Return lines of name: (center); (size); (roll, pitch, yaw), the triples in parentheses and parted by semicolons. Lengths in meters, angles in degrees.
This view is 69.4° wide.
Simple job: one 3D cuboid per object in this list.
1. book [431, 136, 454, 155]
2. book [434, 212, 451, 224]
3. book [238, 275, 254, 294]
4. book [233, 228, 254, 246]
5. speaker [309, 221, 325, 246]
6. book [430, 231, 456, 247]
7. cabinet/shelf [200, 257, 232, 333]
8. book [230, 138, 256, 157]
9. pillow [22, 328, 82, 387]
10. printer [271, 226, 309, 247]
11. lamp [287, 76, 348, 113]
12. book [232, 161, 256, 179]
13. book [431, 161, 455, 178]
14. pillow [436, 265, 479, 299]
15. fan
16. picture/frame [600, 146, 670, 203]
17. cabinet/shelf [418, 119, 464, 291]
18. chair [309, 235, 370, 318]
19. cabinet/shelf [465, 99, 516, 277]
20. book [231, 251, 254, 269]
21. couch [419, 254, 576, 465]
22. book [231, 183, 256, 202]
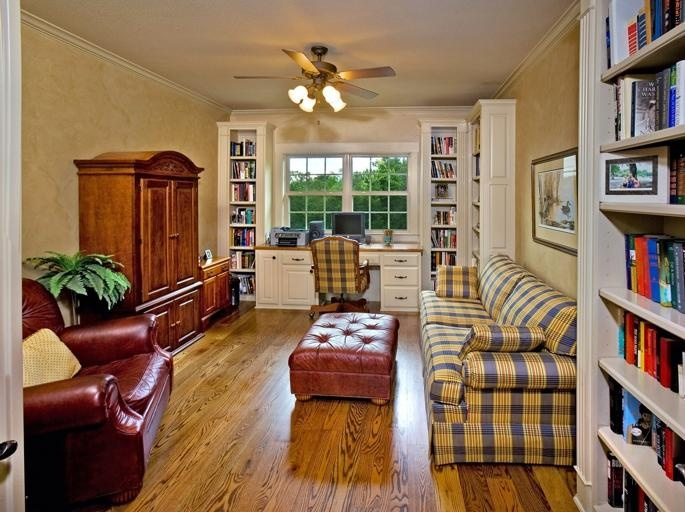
book: (1.283, -1.410, 6.352); (0.210, 0.204, 0.085); (1, -1, 3)
book: (1.319, -0.495, 6.456); (0.198, 0.206, 0.152); (0, -4, 35)
book: (-1.325, 0.397, 6.952); (0.178, 0.256, 0.081); (2, 5, 2)
book: (-1.374, -0.256, 6.857); (0.312, 0.321, 0.227); (3, -4, -44)
speaker: (-0.379, -0.346, 6.645); (0.162, 0.331, 0.320); (0, 0, 4)
book: (1.329, -0.222, 6.472); (0.216, 0.309, 0.260); (2, 0, 1)
cabinet/shelf: (-1.608, 0.425, 5.901); (0.291, 0.728, 0.842); (2, 8, 8)
book: (-1.348, -1.537, 6.822); (0.324, 0.345, 0.241); (4, 6, 6)
pillow: (-1.858, 0.668, 3.105); (0.399, 0.432, 0.124); (5, 42, -18)
printer: (-0.703, -0.242, 6.505); (0.506, 0.202, 0.346); (0, 10, -2)
lamp: (-0.215, -1.473, 4.415); (0.464, 0.177, 0.434); (2, -5, 27)
book: (-1.330, -1.125, 6.841); (0.330, 0.350, 0.245); (3, 6, 9)
book: (1.295, -1.125, 6.428); (0.208, 0.219, 0.090); (-1, -4, 2)
pillow: (1.177, 0.263, 5.132); (0.334, 0.145, 0.350); (2, 14, 3)
fan: (-0.168, -1.558, 4.356); (0.834, 0.325, 0.854); (-3, -8, 38)
picture/frame: (1.467, -0.381, 2.425); (0.278, 0.260, 0.037); (-11, -10, -2)
cabinet/shelf: (1.354, -0.959, 6.579); (0.515, 2.147, 0.312); (3, -31, 7)
chair: (-0.001, 0.204, 5.983); (0.679, 1.040, 0.780); (2, 14, 21)
cabinet/shelf: (1.639, -0.783, 5.732); (0.415, 1.928, 1.125); (0, 10, -3)
book: (-1.381, 0.064, 6.872); (0.226, 0.320, 0.312); (0, -1, 4)
couch: (1.154, 0.644, 4.253); (0.883, 1.085, 2.684); (4, 8, 5)
book: (-1.358, -0.877, 6.797); (0.363, 0.246, 0.112); (4, 10, 18)
